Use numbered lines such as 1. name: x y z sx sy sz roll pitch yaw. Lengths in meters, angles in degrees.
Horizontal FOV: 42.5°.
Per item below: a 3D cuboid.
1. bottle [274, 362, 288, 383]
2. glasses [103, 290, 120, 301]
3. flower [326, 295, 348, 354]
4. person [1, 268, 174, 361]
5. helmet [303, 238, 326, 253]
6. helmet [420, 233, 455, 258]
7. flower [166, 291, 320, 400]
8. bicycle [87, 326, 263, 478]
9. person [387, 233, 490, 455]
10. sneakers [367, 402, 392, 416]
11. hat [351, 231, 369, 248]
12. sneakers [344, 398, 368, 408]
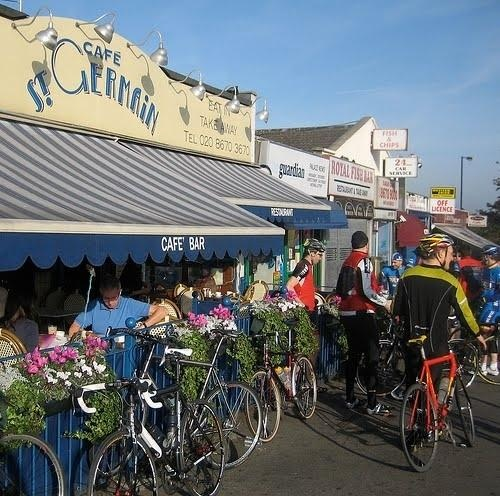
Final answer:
1. bottle: 0.339 1.321 6.985 0.145 0.153 0.259 -6 18 -16
2. glasses: -1.421 0.489 6.593 0.117 0.043 0.133 -1 13 -11
3. flower: 1.250 1.134 9.538 0.237 0.792 0.550 -2 -3 27
4. person: -1.406 0.657 6.637 0.785 0.587 0.848 0 13 23
5. helmet: 0.851 -0.034 8.493 0.203 0.207 0.168 14 -1 20
6. helmet: 1.812 -0.041 6.129 0.296 0.188 0.238 -23 8 -11
7. flower: -0.035 0.946 6.795 1.209 0.463 0.768 -12 13 -40
8. bicycle: -0.592 1.394 5.621 0.740 1.073 1.587 -13 -20 25
9. person: 1.771 0.844 6.226 0.644 1.961 0.524 7 10 38
10. sneakers: 1.532 1.886 7.562 0.344 0.192 0.137 -3 -3 -5
11. hat: 1.292 -0.131 7.613 0.150 0.175 0.209 3 30 18
12. sneakers: 1.313 1.886 7.941 0.286 0.146 0.107 -3 2 -31
